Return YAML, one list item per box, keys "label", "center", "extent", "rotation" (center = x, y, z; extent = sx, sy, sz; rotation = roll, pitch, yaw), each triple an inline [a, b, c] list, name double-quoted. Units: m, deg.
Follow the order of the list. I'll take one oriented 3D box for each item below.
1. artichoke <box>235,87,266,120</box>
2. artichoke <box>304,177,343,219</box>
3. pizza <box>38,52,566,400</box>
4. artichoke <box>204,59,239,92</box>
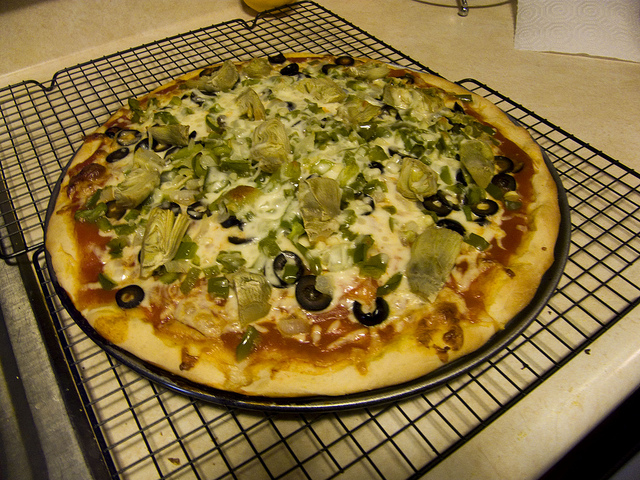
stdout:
- label: "artichoke"
  center: [-0.259, -0.524, 2.045]
  extent: [0.154, 0.113, 0.048]
  rotation: [12, 23, 17]
- label: "artichoke"
  center: [0.009, -0.136, 1.754]
  extent: [0.171, 0.089, 0.174]
  rotation: [-9, 22, -28]
- label: "pizza"
  center: [-0.074, -0.141, 1.849]
  extent: [1.722, 0.228, 1.407]
  rotation: [20, 62, 16]
- label: "artichoke"
  center: [-0.386, -0.651, 2.155]
  extent: [0.112, 0.042, 0.134]
  rotation: [19, 58, 1]
